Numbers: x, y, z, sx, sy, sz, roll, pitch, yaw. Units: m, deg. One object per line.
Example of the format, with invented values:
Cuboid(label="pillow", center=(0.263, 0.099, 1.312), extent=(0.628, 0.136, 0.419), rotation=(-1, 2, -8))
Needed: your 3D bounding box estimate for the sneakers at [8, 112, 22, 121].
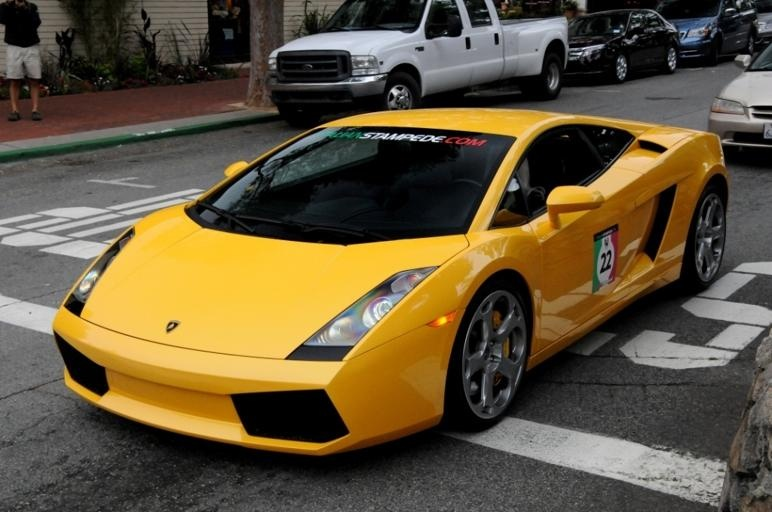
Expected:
Cuboid(label="sneakers", center=(-8.602, -3.232, 13.452), extent=(0.259, 0.180, 0.462), rotation=(-6, 11, -17))
